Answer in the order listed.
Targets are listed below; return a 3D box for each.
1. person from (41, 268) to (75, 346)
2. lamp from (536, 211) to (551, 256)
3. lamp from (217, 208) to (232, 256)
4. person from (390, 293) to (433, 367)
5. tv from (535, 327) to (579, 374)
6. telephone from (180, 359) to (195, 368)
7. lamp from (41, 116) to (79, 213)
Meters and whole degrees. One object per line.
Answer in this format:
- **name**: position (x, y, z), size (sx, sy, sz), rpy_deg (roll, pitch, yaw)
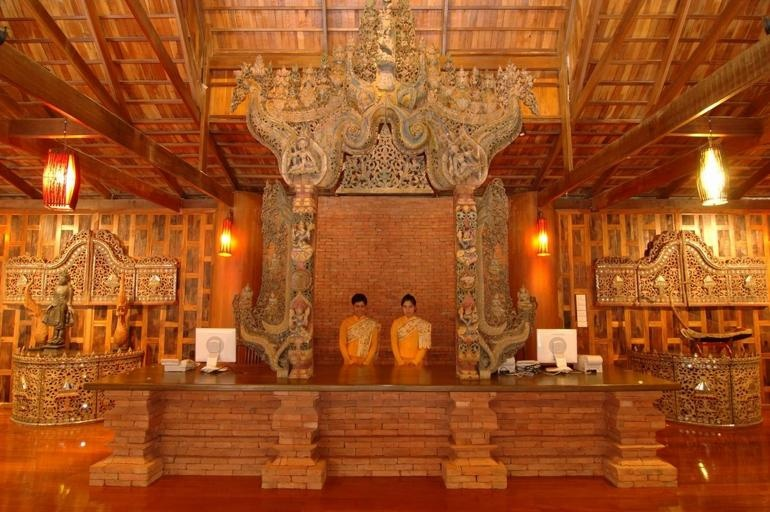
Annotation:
- **person**: position (-6.564, 1.068, 10.754), size (0.485, 1.543, 0.355), rpy_deg (2, -10, -10)
- **lamp**: position (3.511, -0.517, 11.804), size (0.321, 1.026, 0.295), rpy_deg (0, -10, 2)
- **lamp**: position (-3.557, -0.447, 11.848), size (0.328, 0.881, 0.319), rpy_deg (2, -10, -7)
- **person**: position (0.429, 1.224, 8.877), size (0.617, 1.175, 0.334), rpy_deg (0, -10, 3)
- **tv**: position (2.756, 1.536, 8.571), size (0.660, 0.620, 0.329), rpy_deg (1, -11, 3)
- **telephone**: position (-3.142, 1.715, 8.516), size (0.144, 0.050, 0.233), rpy_deg (2, -1, -11)
- **lamp**: position (-4.745, -1.202, 7.852), size (0.442, 0.989, 0.380), rpy_deg (-4, -11, 22)
